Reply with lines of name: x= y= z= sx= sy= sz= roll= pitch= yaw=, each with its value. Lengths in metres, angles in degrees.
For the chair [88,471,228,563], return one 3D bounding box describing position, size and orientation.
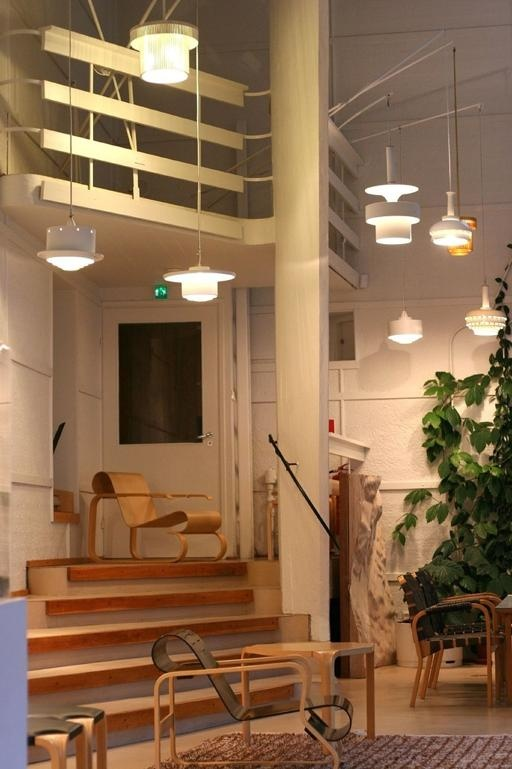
chair: x=-0.868 y=1.086 z=6.543 sx=1.161 sy=0.911 sz=0.880 roll=-3 pitch=-6 yaw=25
